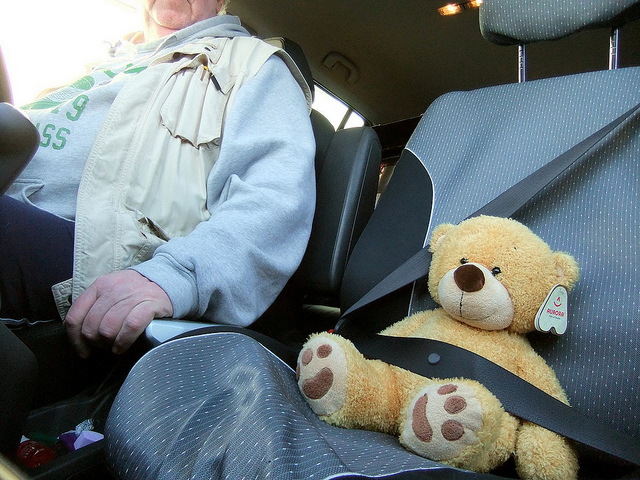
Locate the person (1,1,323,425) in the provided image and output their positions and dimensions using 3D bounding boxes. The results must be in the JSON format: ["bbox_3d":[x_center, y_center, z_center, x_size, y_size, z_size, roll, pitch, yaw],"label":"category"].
[{"bbox_3d":[-0.337,-0.153,1.148,0.674,0.456,0.920,-7,36,0],"label":"person"}]

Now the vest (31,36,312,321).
[{"bbox_3d":[-0.366,-0.173,1.101,0.468,0.613,0.574,7,14,25],"label":"vest"}]

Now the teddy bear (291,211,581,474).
[{"bbox_3d":[0.255,0.095,0.861,0.456,0.396,0.435,10,75,41],"label":"teddy bear"}]
